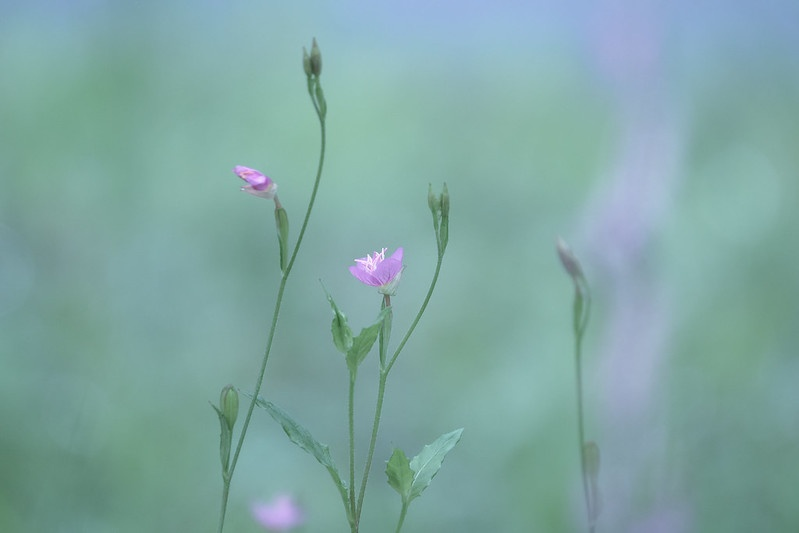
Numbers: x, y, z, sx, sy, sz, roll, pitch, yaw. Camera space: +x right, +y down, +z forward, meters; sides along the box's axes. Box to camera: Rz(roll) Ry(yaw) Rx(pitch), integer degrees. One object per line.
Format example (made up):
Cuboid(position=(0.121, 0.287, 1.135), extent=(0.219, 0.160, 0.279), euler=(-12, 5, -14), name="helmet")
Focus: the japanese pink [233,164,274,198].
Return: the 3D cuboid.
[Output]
Cuboid(position=(-0.258, -0.145, 1.589), extent=(0.023, 0.052, 0.066), euler=(-4, -27, 45), name="japanese pink")
